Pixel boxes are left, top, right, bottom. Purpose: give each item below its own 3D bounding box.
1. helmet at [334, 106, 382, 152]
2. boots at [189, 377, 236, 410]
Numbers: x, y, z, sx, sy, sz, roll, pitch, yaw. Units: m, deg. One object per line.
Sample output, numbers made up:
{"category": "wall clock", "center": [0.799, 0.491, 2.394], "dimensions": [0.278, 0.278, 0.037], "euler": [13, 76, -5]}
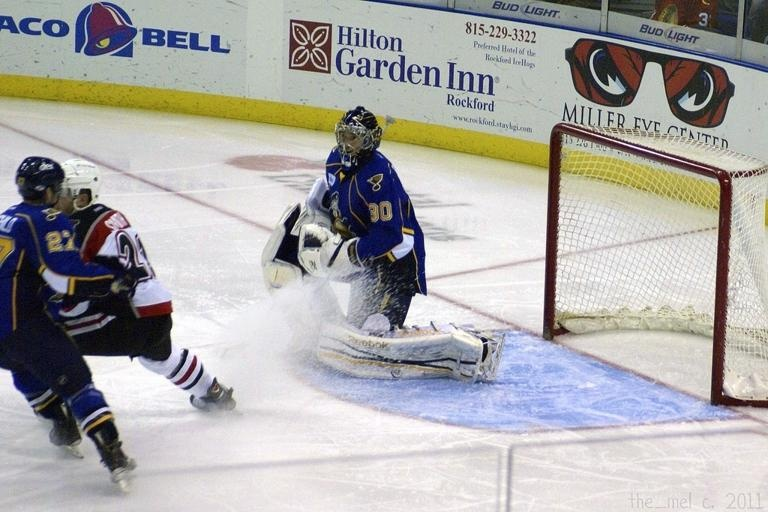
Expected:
{"category": "helmet", "center": [-0.137, -0.704, 4.986], "dimensions": [0.257, 0.238, 0.302], "euler": [10, 11, 42]}
{"category": "boots", "center": [-0.851, 0.693, 4.663], "dimensions": [0.279, 0.160, 0.125], "euler": [-14, 29, -32]}
